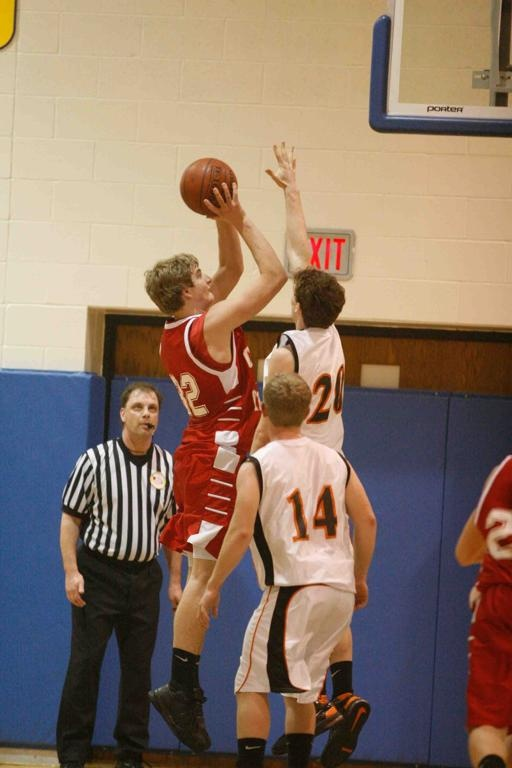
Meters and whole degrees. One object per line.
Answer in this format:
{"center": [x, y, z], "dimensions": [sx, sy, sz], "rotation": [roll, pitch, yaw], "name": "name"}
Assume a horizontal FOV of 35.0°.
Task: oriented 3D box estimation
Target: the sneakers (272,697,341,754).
{"center": [0.220, 1.227, 2.940], "dimensions": [0.129, 0.167, 0.386], "rotation": [26, -43, -20], "name": "sneakers"}

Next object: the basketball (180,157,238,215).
{"center": [-0.178, -0.728, 3.033], "dimensions": [0.203, 0.243, 0.210], "rotation": [7, 1, 22], "name": "basketball"}
